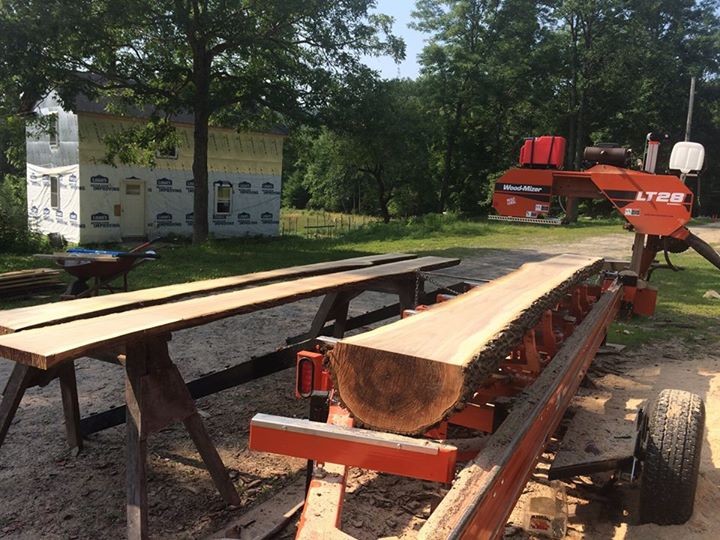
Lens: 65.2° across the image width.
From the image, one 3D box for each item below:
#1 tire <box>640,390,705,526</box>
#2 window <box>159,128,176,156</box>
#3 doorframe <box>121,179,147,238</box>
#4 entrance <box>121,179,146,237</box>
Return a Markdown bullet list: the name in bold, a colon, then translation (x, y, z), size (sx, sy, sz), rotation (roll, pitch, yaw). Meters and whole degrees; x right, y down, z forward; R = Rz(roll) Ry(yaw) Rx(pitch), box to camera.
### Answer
- **tire**: translation (2.406, 1.482, 4.391), size (0.275, 0.711, 0.750), rotation (12, 26, 16)
- **window**: translation (-6.367, -4.122, 18.621), size (0.613, 0.697, 3.595), rotation (-2, 8, -18)
- **doorframe**: translation (-7.882, -2.118, 19.527), size (0.863, 2.159, 0.291), rotation (-6, 29, -33)
- **entrance**: translation (-7.860, -2.101, 19.522), size (0.204, 1.997, 0.865), rotation (6, 10, 37)
